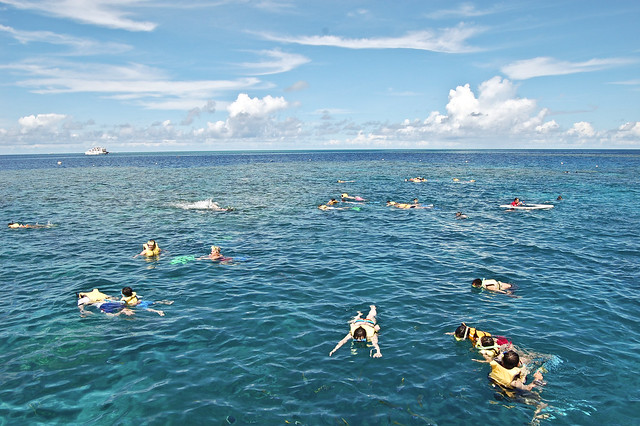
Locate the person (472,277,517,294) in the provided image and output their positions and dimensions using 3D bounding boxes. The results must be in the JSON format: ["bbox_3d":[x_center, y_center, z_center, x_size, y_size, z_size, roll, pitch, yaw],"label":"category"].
[{"bbox_3d":[10.344,4.318,27.110,1.836,0.340,0.962,7,4,-6],"label":"person"}]
